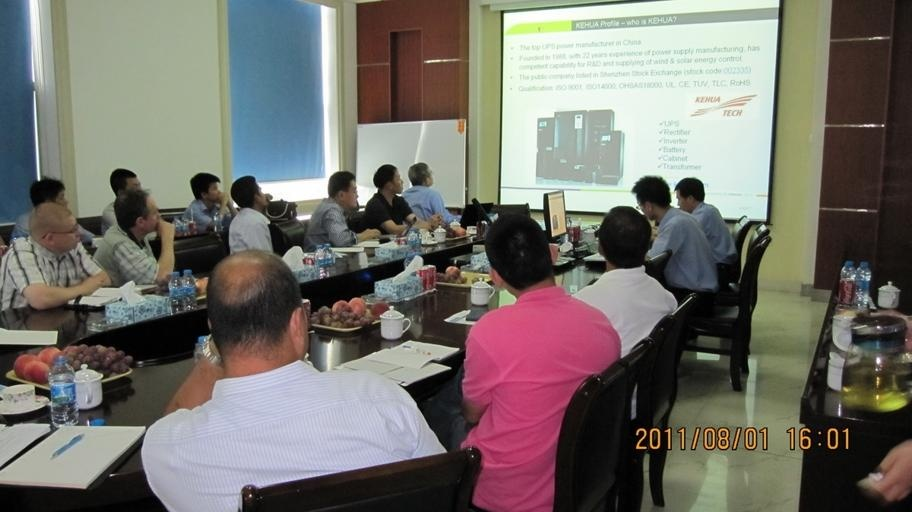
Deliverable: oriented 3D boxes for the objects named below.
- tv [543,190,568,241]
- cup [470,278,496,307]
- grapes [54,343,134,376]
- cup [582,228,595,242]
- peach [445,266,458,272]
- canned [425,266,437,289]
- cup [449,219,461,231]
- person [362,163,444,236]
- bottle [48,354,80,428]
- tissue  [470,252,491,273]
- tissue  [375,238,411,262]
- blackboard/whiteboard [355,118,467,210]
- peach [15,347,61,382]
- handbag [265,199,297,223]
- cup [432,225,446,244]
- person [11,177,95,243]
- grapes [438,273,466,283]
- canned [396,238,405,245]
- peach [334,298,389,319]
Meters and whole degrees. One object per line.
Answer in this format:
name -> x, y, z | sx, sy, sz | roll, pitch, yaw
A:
tv -> 0.958, -0.387, 6.080 | 0.104, 0.445, 0.642 | -1, 9, 27
cup -> 0.154, 0.252, 4.329 | 0.139, 0.169, 0.178 | 0, -1, 39
grapes -> -1.953, 0.542, 3.378 | 0.228, 0.090, 0.207 | 7, 5, 35
cup -> 1.382, -0.222, 6.573 | 0.150, 0.120, 0.128 | -5, 16, -14
peach -> -0.036, 0.098, 4.799 | 0.057, 0.030, 0.051 | -6, 7, -44
canned -> -0.191, 0.157, 4.620 | 0.096, 0.153, 0.172 | 0, 1, 12
cup -> -0.004, -0.321, 6.562 | 0.128, 0.122, 0.124 | -1, 2, 0
person -> -0.605, -0.635, 6.858 | 0.898, 0.833, 0.671 | -5, 14, -3
bottle -> -1.983, 0.671, 3.167 | 0.131, 0.290, 0.285 | -11, 14, -26
tissue  -> 0.199, 0.058, 5.086 | 0.159, 0.150, 0.156 | 0, 2, 4
tissue  -> -0.536, -0.074, 5.151 | 0.174, 0.113, 0.243 | 0, 4, 9
blackboard/whiteboard -> -0.533, -1.274, 8.542 | 1.595, 1.084, 0.159 | 2, 5, 26
peach -> -2.225, 0.572, 3.407 | 0.188, 0.137, 0.235 | 1, 3, 4
handbag -> -2.163, -0.544, 7.717 | 0.356, 0.287, 0.439 | -1, 6, 6
cup -> -0.166, -0.220, 6.052 | 0.118, 0.142, 0.145 | -1, 1, -6
person -> -3.673, -0.433, 5.673 | 0.707, 0.454, 0.364 | 10, 15, 37
grapes -> -0.025, 0.153, 4.794 | 0.106, 0.063, 0.135 | 1, 3, -20
canned -> -0.465, -0.122, 5.294 | 0.064, 0.057, 0.065 | 5, 7, 36
peach -> -0.610, 0.332, 4.052 | 0.200, 0.075, 0.193 | 2, 1, 14
